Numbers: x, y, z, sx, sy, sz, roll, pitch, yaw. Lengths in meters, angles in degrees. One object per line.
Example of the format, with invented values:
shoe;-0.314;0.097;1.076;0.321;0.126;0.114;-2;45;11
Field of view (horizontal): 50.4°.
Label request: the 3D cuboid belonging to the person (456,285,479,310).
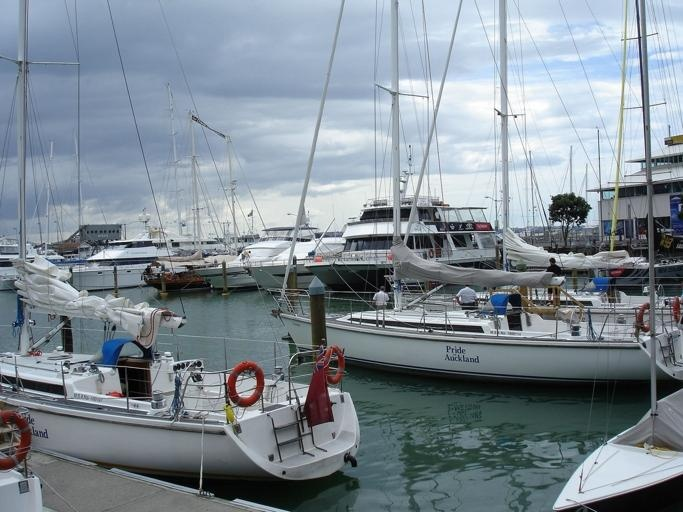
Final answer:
person;3.368;1.102;19.413;0.575;0.429;1.355;-18;0;13
